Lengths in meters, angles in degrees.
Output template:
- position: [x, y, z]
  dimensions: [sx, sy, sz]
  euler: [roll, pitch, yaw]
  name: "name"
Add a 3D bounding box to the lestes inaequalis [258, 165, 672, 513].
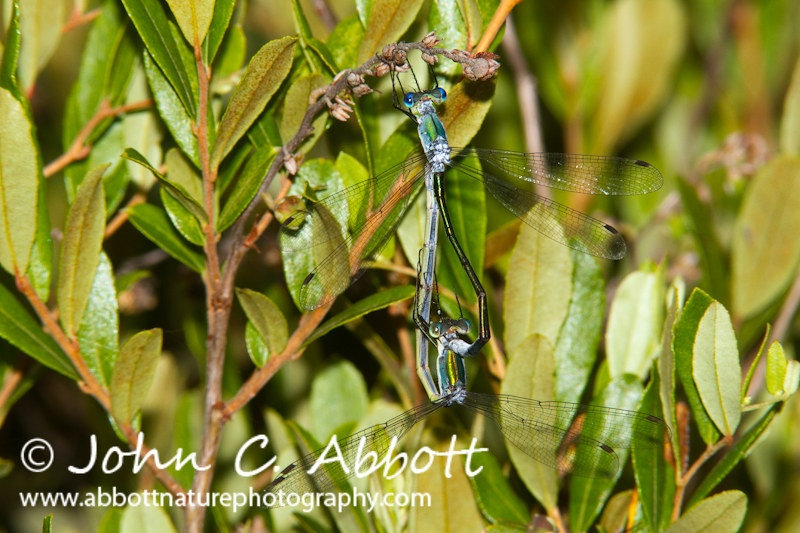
- position: [0.151, 0.189, 2.120]
  dimensions: [0.621, 0.667, 0.285]
  euler: [-7, 26, -13]
  name: "lestes inaequalis"
